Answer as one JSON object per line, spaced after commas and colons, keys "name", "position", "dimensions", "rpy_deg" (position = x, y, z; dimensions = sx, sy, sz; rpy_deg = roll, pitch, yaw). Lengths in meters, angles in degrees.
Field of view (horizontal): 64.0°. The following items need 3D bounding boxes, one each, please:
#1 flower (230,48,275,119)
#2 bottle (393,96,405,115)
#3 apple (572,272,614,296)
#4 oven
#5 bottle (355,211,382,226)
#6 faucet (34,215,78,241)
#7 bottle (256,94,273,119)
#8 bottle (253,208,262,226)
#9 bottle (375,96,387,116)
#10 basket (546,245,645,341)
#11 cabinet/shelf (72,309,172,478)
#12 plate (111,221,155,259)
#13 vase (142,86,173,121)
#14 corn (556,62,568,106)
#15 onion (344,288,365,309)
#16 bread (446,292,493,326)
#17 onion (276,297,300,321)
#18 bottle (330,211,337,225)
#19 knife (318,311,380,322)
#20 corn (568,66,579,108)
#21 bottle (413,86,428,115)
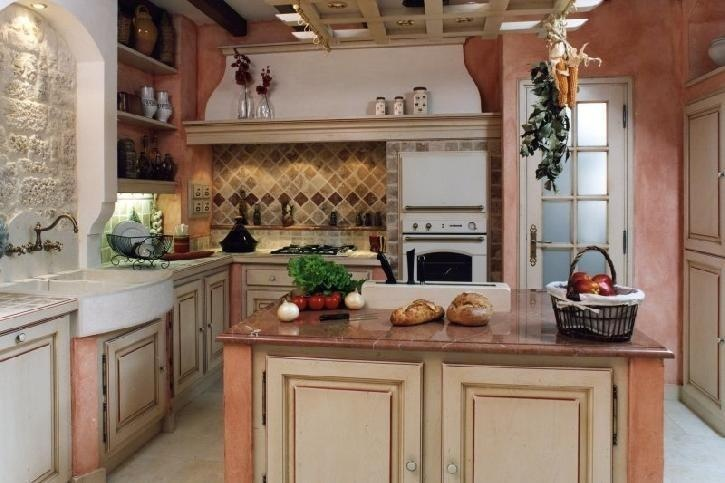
{"name": "flower", "position": [-1.123, -1.562, 5.768], "dimensions": [0.481, 0.678, 0.406], "rpy_deg": [0, 15, 9]}
{"name": "bottle", "position": [0.337, -1.289, 5.537], "dimensions": [0.113, 0.171, 0.289], "rpy_deg": [-1, 15, 4]}
{"name": "apple", "position": [1.204, 0.223, 3.112], "dimensions": [0.150, 0.063, 0.149], "rpy_deg": [-1, 6, 2]}
{"name": "oven", "position": [0.780, -0.037, 5.678], "dimensions": [0.875, 0.778, 0.623], "rpy_deg": [0, -2, 5]}
{"name": "bottle", "position": [0.062, -0.233, 6.040], "dimensions": [0.272, 0.142, 0.117], "rpy_deg": [2, 15, 13]}
{"name": "faucet", "position": [-2.227, -0.112, 4.205], "dimensions": [0.287, 0.188, 0.421], "rpy_deg": [-9, 16, -26]}
{"name": "bottle", "position": [-0.988, -1.351, 5.796], "dimensions": [0.155, 0.220, 0.182], "rpy_deg": [-4, 15, -6]}
{"name": "bottle", "position": [-1.139, -0.263, 6.200], "dimensions": [0.091, 0.187, 0.090], "rpy_deg": [-2, 15, 1]}
{"name": "bottle", "position": [0.171, -1.297, 5.572], "dimensions": [0.116, 0.173, 0.262], "rpy_deg": [-2, 15, 1]}
{"name": "basket", "position": [1.230, 0.273, 3.105], "dimensions": [0.469, 0.478, 0.270], "rpy_deg": [2, 15, 16]}
{"name": "cabinet/shelf", "position": [-1.717, 1.016, 4.050], "dimensions": [0.239, 0.908, 0.898], "rpy_deg": [0, 15, 10]}
{"name": "plate", "position": [-1.914, -0.020, 4.780], "dimensions": [0.070, 0.311, 0.313], "rpy_deg": [-12, -5, 39]}
{"name": "vase", "position": [-1.953, -1.289, 5.508], "dimensions": [0.165, 0.343, 0.443], "rpy_deg": [-1, 15, 6]}
{"name": "corn", "position": [1.069, -0.844, 3.138], "dimensions": [0.064, 0.224, 0.066], "rpy_deg": [-3, -11, 2]}
{"name": "onion", "position": [-0.056, 0.359, 3.570], "dimensions": [0.107, 0.108, 0.105], "rpy_deg": [1, -3, 3]}
{"name": "bread", "position": [0.594, 0.388, 3.267], "dimensions": [0.178, 0.160, 0.206], "rpy_deg": [-16, 20, -42]}
{"name": "onion", "position": [-0.428, 0.393, 3.372], "dimensions": [0.112, 0.116, 0.108], "rpy_deg": [-7, 12, -35]}
{"name": "bottle", "position": [-0.317, -0.238, 6.103], "dimensions": [0.087, 0.141, 0.102], "rpy_deg": [-3, 15, -4]}
{"name": "knife", "position": [-0.092, 0.431, 3.416], "dimensions": [0.330, 0.034, 0.178], "rpy_deg": [-2, 15, -2]}
{"name": "corn", "position": [1.160, -0.851, 3.220], "dimensions": [0.051, 0.220, 0.257], "rpy_deg": [3, 16, 19]}
{"name": "bottle", "position": [0.536, -1.332, 5.500], "dimensions": [0.124, 0.240, 0.149], "rpy_deg": [-2, 15, 3]}
